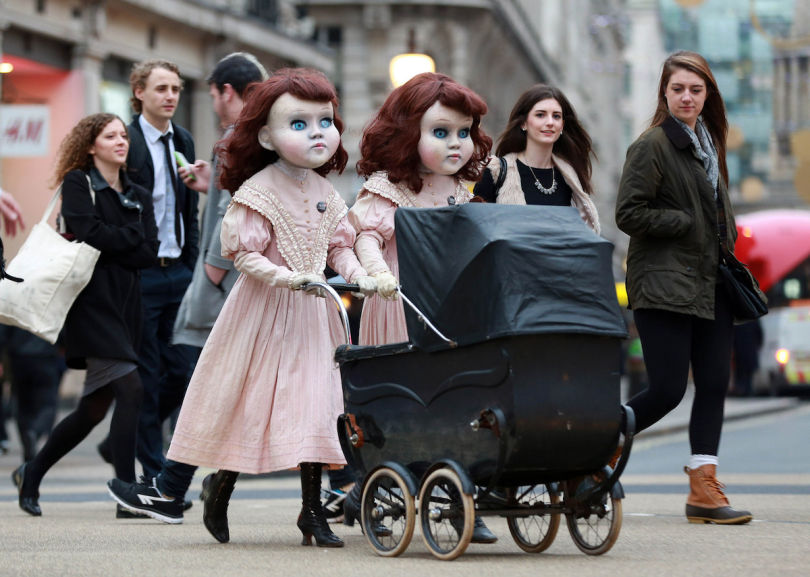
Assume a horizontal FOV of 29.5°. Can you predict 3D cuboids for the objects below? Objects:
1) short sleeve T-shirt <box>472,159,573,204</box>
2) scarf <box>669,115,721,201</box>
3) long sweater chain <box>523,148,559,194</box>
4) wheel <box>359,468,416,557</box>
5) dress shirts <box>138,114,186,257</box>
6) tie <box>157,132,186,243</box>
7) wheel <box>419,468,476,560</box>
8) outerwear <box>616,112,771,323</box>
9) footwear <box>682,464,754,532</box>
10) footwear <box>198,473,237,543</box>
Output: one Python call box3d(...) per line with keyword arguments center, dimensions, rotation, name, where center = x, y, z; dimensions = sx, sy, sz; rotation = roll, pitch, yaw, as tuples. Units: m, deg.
box3d(center=(0.718, -0.673, 9.831), dimensions=(0.330, 0.282, 0.174), rotation=(6, -18, -16), name="short sleeve T-shirt")
box3d(center=(1.860, -0.868, 10.235), dimensions=(0.410, 0.495, 0.140), rotation=(8, -29, -33), name="scarf")
box3d(center=(0.866, -0.695, 9.879), dimensions=(0.170, 0.173, 0.047), rotation=(-14, -15, -49), name="long sweater chain")
box3d(center=(-0.102, 1.283, 8.775), dimensions=(0.202, 0.565, 0.535), rotation=(-3, 3, -35), name="wheel")
box3d(center=(-1.707, -0.668, 10.887), dimensions=(0.223, 0.851, 0.491), rotation=(-6, -6, 33), name="dress shirts")
box3d(center=(-1.641, -0.681, 10.939), dimensions=(0.123, 0.835, 0.070), rotation=(-3, -2, -30), name="tie")
box3d(center=(0.231, 1.264, 8.590), dimensions=(0.186, 0.514, 0.493), rotation=(-1, -10, -28), name="wheel")
box3d(center=(1.682, -0.457, 9.931), dimensions=(0.640, 1.307, 0.424), rotation=(-1, 3, 7), name="outerwear")
box3d(center=(2.005, 1.344, 9.908), dimensions=(0.211, 0.400, 0.568), rotation=(2, -2, -40), name="footwear")
box3d(center=(-1.145, 1.304, 9.210), dimensions=(0.162, 0.467, 0.232), rotation=(-6, -9, -36), name="footwear")
